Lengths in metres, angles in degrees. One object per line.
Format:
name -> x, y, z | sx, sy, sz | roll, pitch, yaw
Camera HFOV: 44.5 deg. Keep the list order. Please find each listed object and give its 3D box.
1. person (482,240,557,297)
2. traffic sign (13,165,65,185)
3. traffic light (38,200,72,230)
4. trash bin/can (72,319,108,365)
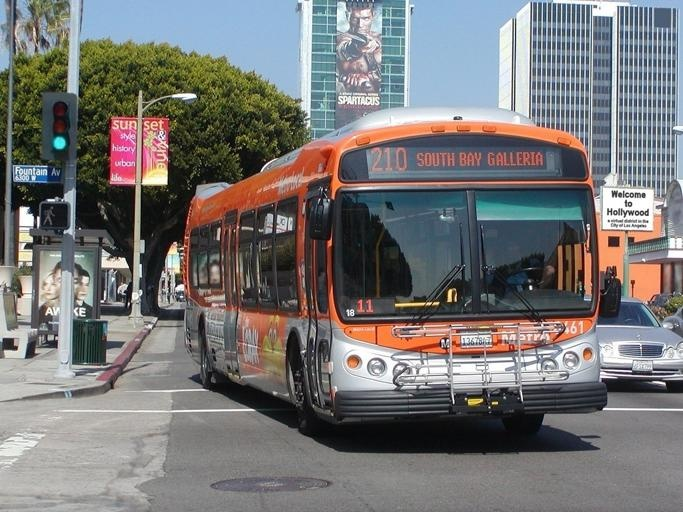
person -> 2.114, 0.197, 9.955 | 0.671, 0.465, 0.697 | 1, -5, -13
traffic sign -> -6.199, -1.700, 17.008 | 0.753, 0.481, 1.370 | -1, -2, -37
traffic light -> -5.622, -0.809, 16.368 | 0.565, 0.594, 0.401 | -2, -1, -23
trash bin/can -> -6.029, 2.036, 19.979 | 0.921, 1.066, 0.933 | 2, -2, -20
